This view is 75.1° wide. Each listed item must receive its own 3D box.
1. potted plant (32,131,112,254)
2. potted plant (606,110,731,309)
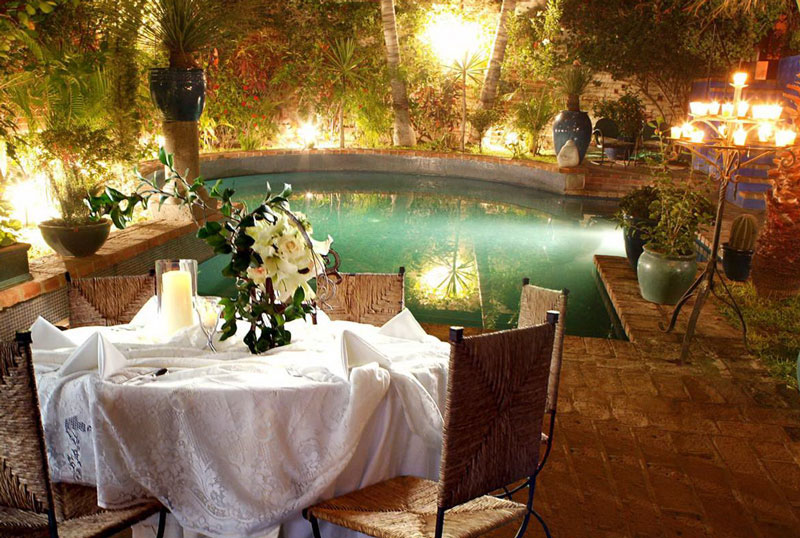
[{"bbox_3d":[-2.898,-0.625,4.580,0.528,1.050,0.579,0,9,-14],"label":"potted plant"},{"bbox_3d":[2.675,-0.420,5.278,0.937,1.544,0.906,11,1,35],"label":"potted plant"}]
